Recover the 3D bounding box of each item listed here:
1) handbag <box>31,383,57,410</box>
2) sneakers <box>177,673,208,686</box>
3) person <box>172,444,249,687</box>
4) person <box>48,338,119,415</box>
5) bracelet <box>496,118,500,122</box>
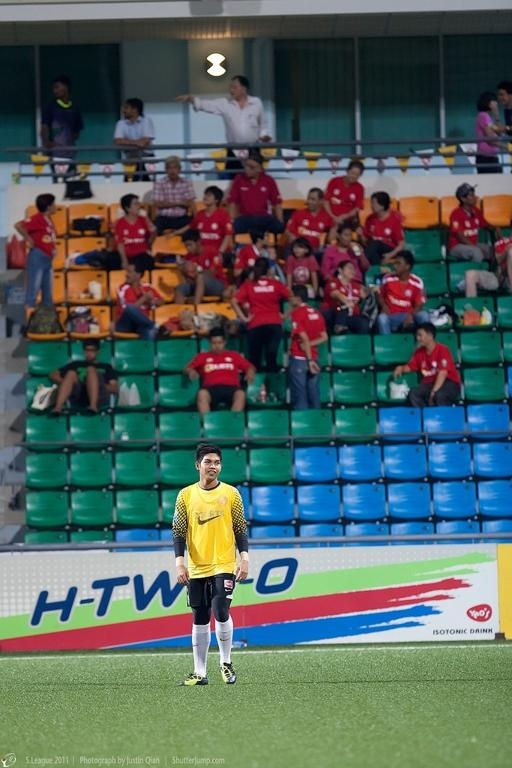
[{"bbox_3d":[-2.126,0.121,11.621,0.274,0.258,0.111,1,-19,28],"label":"handbag"},{"bbox_3d":[-0.359,1.722,6.655,0.191,0.071,0.065,1,-6,0],"label":"sneakers"},{"bbox_3d":[-0.260,1.062,6.638,0.421,1.320,0.287,-2,0,-3],"label":"person"},{"bbox_3d":[-1.696,-0.050,11.350,0.599,0.827,0.784,3,-32,1],"label":"person"},{"bbox_3d":[3.041,-3.313,14.270,0.031,0.047,0.034,2,-4,12],"label":"bracelet"}]
